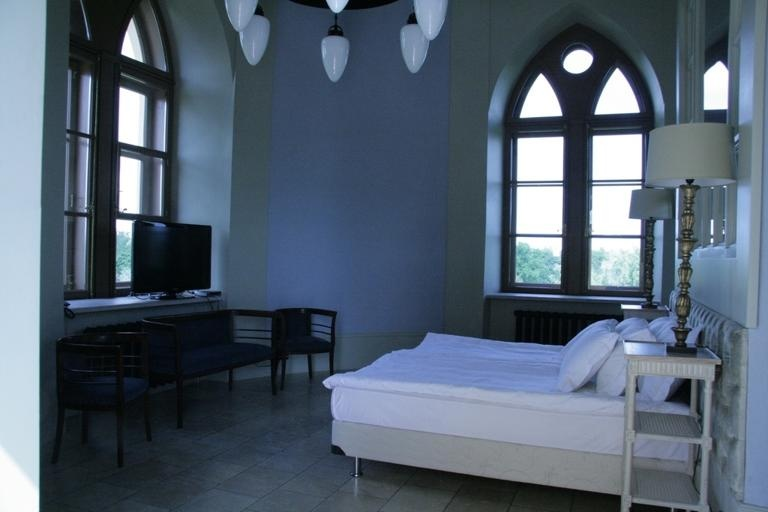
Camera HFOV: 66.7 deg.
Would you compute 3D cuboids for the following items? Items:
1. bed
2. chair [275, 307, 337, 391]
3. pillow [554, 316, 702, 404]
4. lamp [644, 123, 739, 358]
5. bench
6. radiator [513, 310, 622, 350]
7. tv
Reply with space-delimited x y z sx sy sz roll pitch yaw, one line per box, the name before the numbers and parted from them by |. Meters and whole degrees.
bed | 1.158 1.259 4.405 1.716 0.726 1.725 2 -1 15
chair | -0.970 1.075 6.938 0.752 0.826 0.611 1 3 -31
pillow | 1.824 0.804 4.498 0.354 0.629 0.854 28 2 9
lamp | 2.212 -0.191 4.336 0.561 1.608 0.975 5 9 24
bench | -1.790 1.086 6.097 0.670 0.951 1.607 0 0 21
radiator | 2.400 0.999 7.512 1.248 0.124 1.324 -2 -31 21
tv | -2.299 0.047 6.366 0.921 0.813 0.153 0 -4 9
